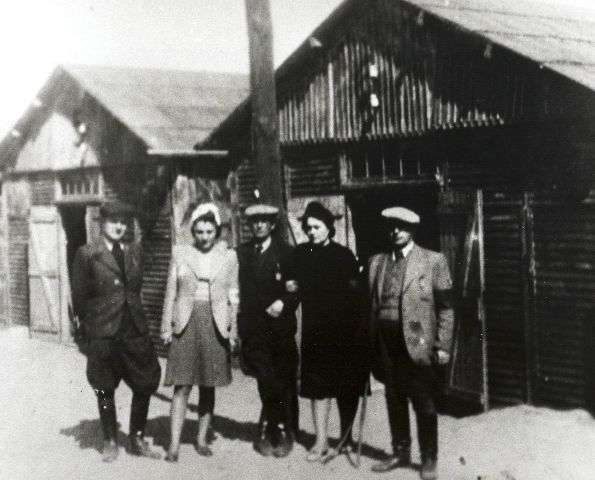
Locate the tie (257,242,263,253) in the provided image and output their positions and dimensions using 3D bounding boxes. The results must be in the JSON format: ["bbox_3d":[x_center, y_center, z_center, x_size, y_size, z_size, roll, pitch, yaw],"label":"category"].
[{"bbox_3d":[-0.419,0.081,8.626,0.059,0.096,0.026,6,0,8],"label":"tie"}]

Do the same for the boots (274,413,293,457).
[{"bbox_3d":[-0.170,2.152,8.680,0.226,0.497,0.266,-2,-14,2],"label":"boots"}]

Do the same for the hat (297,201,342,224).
[{"bbox_3d":[0.208,-0.282,8.288,0.301,0.154,0.344,5,-6,-12],"label":"hat"}]

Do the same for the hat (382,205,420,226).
[{"bbox_3d":[1.020,-0.258,7.866,0.238,0.093,0.257,16,3,-42],"label":"hat"}]

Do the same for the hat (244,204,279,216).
[{"bbox_3d":[-0.396,-0.325,8.653,0.324,0.153,0.354,3,-1,-12],"label":"hat"}]

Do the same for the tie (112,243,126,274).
[{"bbox_3d":[-1.911,0.162,8.345,0.096,0.430,0.085,-10,-5,7],"label":"tie"}]
